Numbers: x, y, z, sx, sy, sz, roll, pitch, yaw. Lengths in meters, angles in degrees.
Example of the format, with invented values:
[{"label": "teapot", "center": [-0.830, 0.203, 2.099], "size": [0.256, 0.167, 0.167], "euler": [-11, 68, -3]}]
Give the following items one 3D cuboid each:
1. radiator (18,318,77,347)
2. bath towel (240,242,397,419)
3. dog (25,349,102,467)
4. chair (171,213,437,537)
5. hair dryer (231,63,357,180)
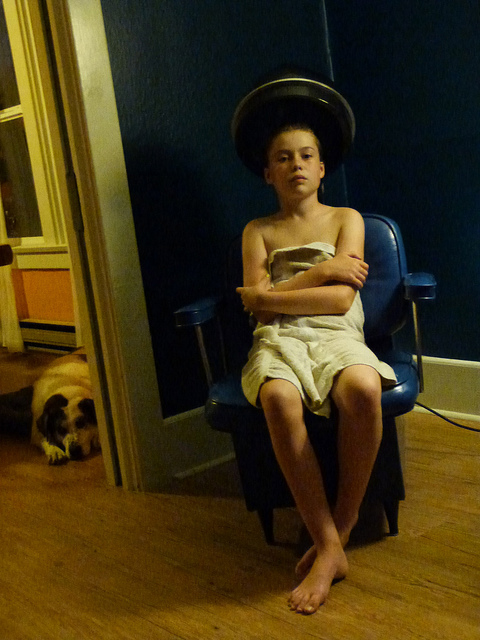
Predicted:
[{"label": "radiator", "center": [-1.196, 0.069, 3.410], "size": [0.632, 0.189, 0.053], "euler": [-1, 6, 41]}, {"label": "bath towel", "center": [0.142, 0.004, 1.114], "size": [0.285, 0.314, 0.333], "euler": [-5, 6, 1]}, {"label": "dog", "center": [-0.621, 0.294, 1.892], "size": [0.236, 0.277, 0.461], "euler": [-8, 7, -23]}, {"label": "chair", "center": [0.181, 0.119, 1.198], "size": [0.397, 0.715, 0.528], "euler": [-1, 5, 12]}, {"label": "hair dryer", "center": [0.124, -0.466, 1.307], "size": [0.287, 0.242, 0.200], "euler": [-6, 6, -2]}]
